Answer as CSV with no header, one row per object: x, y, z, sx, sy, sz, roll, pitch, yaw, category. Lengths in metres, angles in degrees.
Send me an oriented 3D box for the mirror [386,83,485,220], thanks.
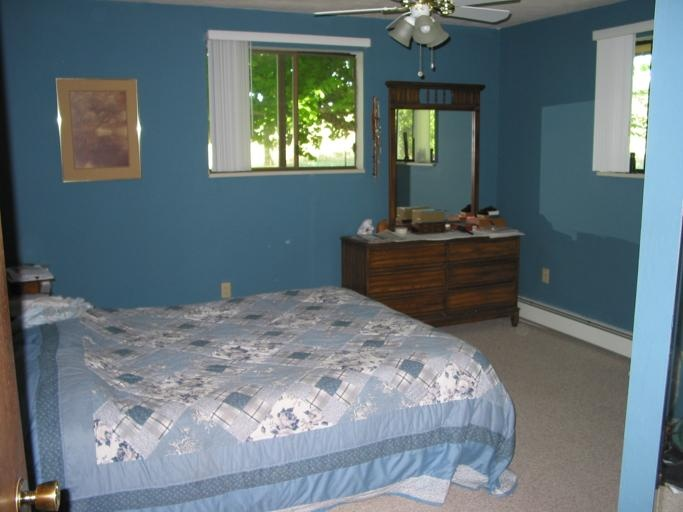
0.967,-1.081,5.576,1.145,1.397,0.217,-8,12,-27,mirror

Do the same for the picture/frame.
-2.100,-1.111,4.588,0.833,1.124,0.091,-6,14,-26,picture/frame
